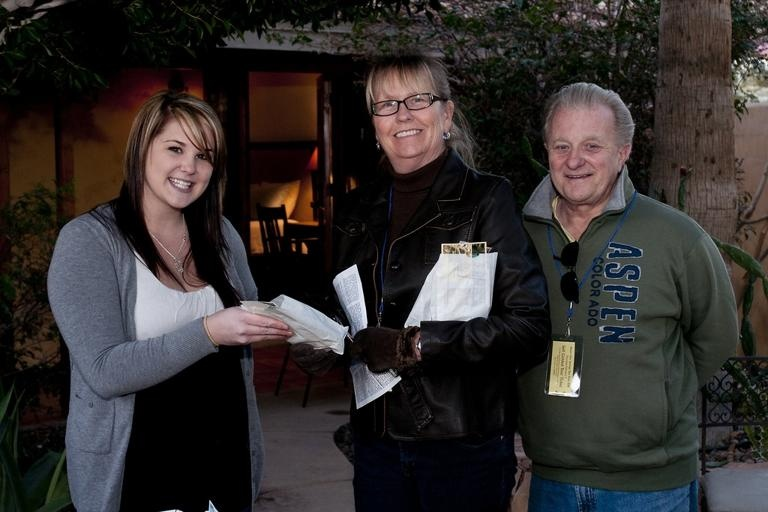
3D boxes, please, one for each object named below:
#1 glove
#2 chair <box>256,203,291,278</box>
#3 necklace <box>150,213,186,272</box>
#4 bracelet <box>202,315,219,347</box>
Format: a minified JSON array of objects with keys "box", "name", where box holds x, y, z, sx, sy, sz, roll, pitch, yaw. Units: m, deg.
[{"box":[-0.004,0.353,2.597,0.320,0.178,0.068,1,3,29],"name":"glove"},{"box":[-1.525,-0.281,9.392,0.440,0.998,0.542,19,26,37],"name":"chair"},{"box":[-0.882,-0.056,2.854,0.129,0.234,0.140,-8,17,-43],"name":"necklace"},{"box":[-0.657,0.281,2.560,0.036,0.092,0.081,-14,40,6],"name":"bracelet"}]
